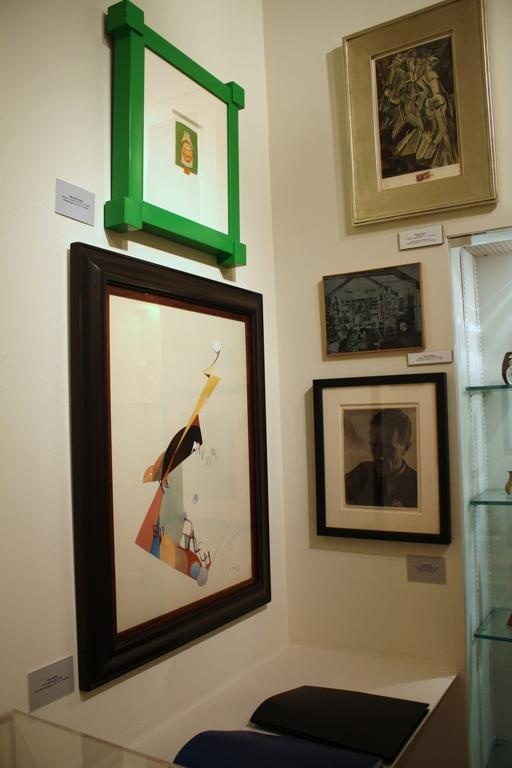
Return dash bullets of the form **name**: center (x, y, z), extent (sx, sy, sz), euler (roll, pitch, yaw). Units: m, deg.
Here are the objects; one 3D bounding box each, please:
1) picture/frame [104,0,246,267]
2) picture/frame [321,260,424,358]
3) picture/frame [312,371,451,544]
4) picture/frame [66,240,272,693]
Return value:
- **picture/frame**: center (-0.186, -0.589, 1.403), extent (0.076, 0.578, 0.521), euler (-2, 1, 27)
- **picture/frame**: center (0.371, -0.229, 1.723), extent (0.222, 0.258, 0.019), euler (-2, 0, 36)
- **picture/frame**: center (0.391, 0.222, 1.679), extent (0.375, 0.648, 0.036), euler (-1, -1, 33)
- **picture/frame**: center (-0.169, 0.187, 1.372), extent (0.046, 1.013, 0.736), euler (-2, 1, 28)
